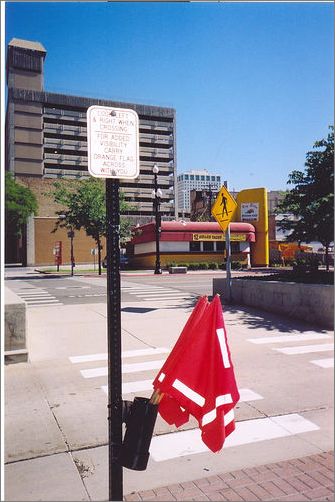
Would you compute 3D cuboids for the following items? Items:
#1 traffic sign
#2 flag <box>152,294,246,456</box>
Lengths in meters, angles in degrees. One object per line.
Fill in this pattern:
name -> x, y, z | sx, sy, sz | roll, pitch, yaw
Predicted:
traffic sign -> -0.357, -0.714, 4.182 | 0.342, 0.468, 0.089 | -2, 3, -24
flag -> 0.206, 0.852, 4.483 | 0.575, 1.087, 0.450 | -1, 3, 4
